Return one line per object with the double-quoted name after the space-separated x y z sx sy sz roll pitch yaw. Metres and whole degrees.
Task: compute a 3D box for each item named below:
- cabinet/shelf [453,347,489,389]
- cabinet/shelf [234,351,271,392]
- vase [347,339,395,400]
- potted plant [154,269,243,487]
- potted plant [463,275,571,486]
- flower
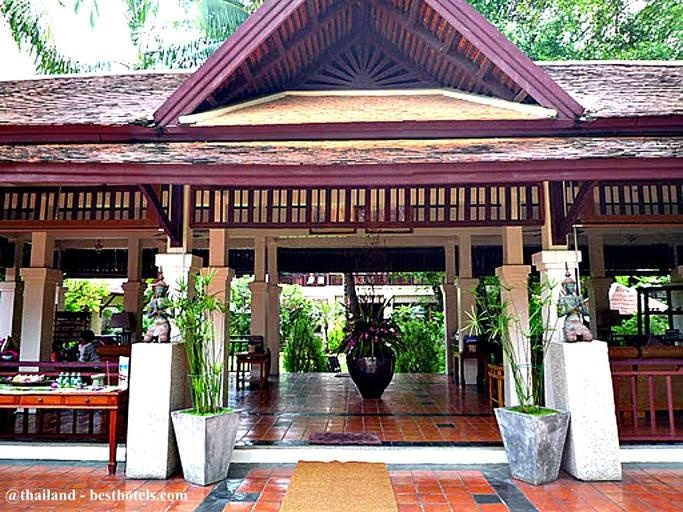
2.584 2.242 10.654 0.477 0.842 1.343 4 -11 13 "cabinet/shelf"
-1.841 2.355 11.213 0.579 0.654 1.323 1 -10 -5 "cabinet/shelf"
0.534 2.062 9.656 0.851 0.839 0.881 -6 -9 35 "vase"
-1.799 1.293 7.002 0.759 2.306 2.914 -1 4 -15 "potted plant"
2.312 1.351 7.427 0.930 2.041 3.733 1 4 11 "potted plant"
0.561 1.338 9.662 1.102 1.149 1.140 4 4 -23 "flower"
